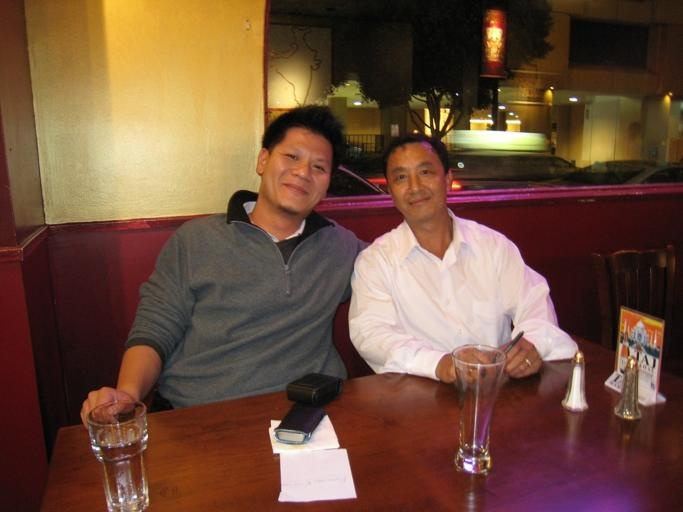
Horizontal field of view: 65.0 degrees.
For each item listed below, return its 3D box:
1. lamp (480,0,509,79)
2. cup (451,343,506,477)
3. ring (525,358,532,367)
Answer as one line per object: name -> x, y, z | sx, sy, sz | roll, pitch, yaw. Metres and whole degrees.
lamp -> 0.963, -1.332, 3.330 | 0.190, 0.426, 0.048 | -6, 11, -19
cup -> 0.369, 0.393, 1.434 | 0.132, 0.290, 0.219 | 0, 11, 13
ring -> 0.623, 0.350, 1.761 | 0.006, 0.026, 0.024 | -11, 36, 18
